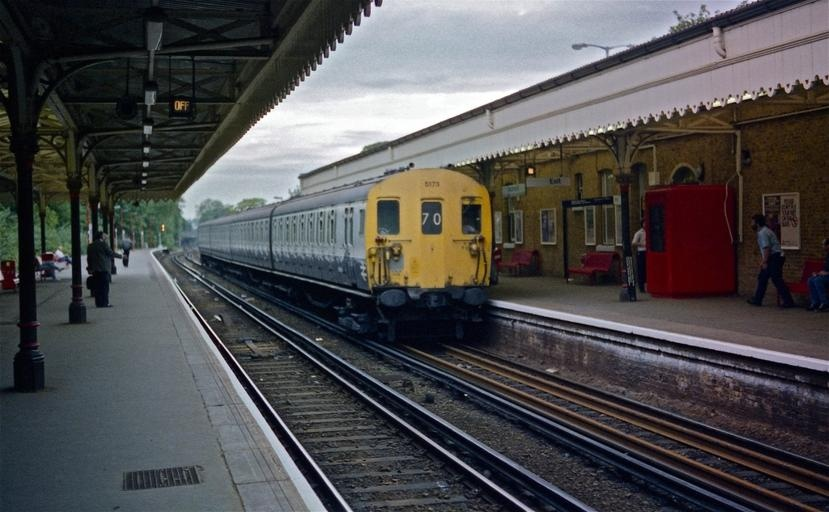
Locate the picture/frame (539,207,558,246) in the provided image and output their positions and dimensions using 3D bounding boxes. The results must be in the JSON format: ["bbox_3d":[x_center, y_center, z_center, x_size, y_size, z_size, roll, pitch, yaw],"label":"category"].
[{"bbox_3d":[5.307,-1.191,25.930,0.077,1.380,1.228,-5,-3,42],"label":"picture/frame"}]

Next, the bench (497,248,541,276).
[{"bbox_3d":[4.386,0.294,26.170,1.055,0.872,1.789,-3,2,-18],"label":"bench"}]

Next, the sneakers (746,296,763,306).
[{"bbox_3d":[8.487,1.126,16.284,0.145,0.265,0.374,-4,15,-20],"label":"sneakers"}]
